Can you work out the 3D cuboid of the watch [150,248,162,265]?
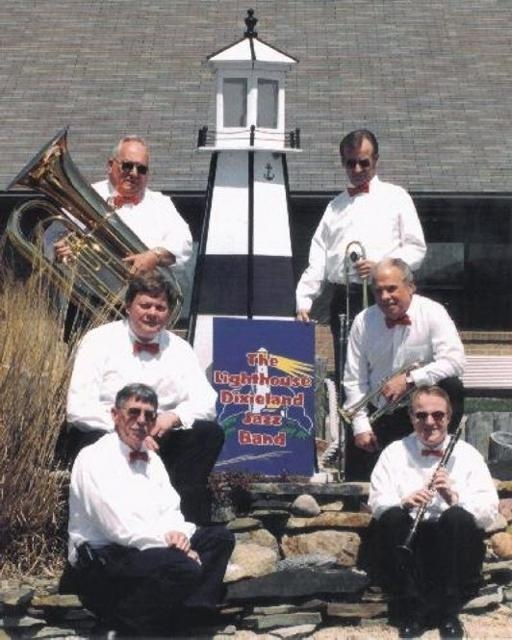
[{"bbox_3d":[-0.646,-0.417,7.402,0.092,0.081,0.083,-15,21,-35],"label":"watch"}]

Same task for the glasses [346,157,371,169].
[{"bbox_3d":[0.697,-1.080,7.789,0.168,0.058,0.079,1,-8,14],"label":"glasses"}]

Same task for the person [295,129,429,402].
[{"bbox_3d":[0.697,-0.412,7.854,0.882,1.916,0.761,0,0,3],"label":"person"}]

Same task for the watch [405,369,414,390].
[{"bbox_3d":[0.955,0.362,6.913,0.045,0.100,0.095,8,5,13],"label":"watch"}]

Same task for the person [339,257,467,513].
[{"bbox_3d":[0.917,0.264,7.018,0.665,1.266,0.648,0,0,3],"label":"person"}]

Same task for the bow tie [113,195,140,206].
[{"bbox_3d":[-0.902,-0.825,7.775,0.129,0.075,0.089,-3,-14,2],"label":"bow tie"}]

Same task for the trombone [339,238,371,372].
[{"bbox_3d":[0.721,-0.053,7.802,0.219,0.986,0.121,-24,25,-40],"label":"trombone"}]

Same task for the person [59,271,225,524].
[{"bbox_3d":[-0.637,0.383,6.623,1.022,1.631,0.691,0,0,6],"label":"person"}]
